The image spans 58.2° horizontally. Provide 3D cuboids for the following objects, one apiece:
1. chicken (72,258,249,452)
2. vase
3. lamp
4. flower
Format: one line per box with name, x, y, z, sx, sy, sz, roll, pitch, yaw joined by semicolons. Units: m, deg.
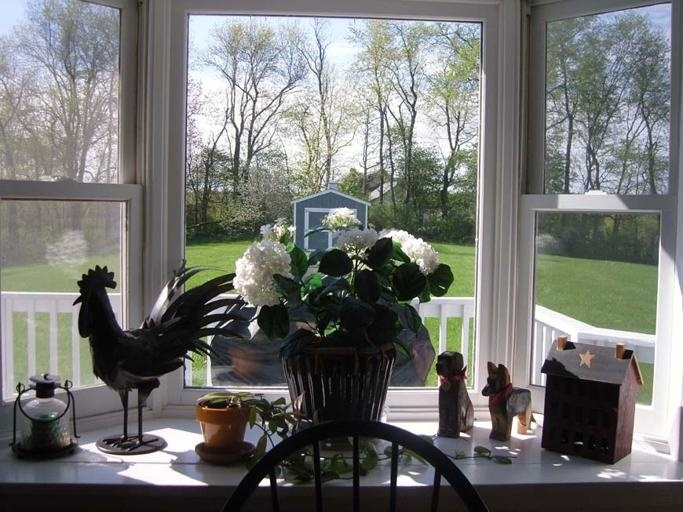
chicken;-0.710;0.381;2.312;0.623;0.673;0.244;3;-4;-23
vase;-0.011;0.458;2.178;0.334;0.259;0.348;-6;-11;20
lamp;-1.090;0.578;2.254;0.224;0.285;0.227;1;1;-16
flower;0.022;0.194;2.317;0.858;0.740;0.518;0;3;-14
